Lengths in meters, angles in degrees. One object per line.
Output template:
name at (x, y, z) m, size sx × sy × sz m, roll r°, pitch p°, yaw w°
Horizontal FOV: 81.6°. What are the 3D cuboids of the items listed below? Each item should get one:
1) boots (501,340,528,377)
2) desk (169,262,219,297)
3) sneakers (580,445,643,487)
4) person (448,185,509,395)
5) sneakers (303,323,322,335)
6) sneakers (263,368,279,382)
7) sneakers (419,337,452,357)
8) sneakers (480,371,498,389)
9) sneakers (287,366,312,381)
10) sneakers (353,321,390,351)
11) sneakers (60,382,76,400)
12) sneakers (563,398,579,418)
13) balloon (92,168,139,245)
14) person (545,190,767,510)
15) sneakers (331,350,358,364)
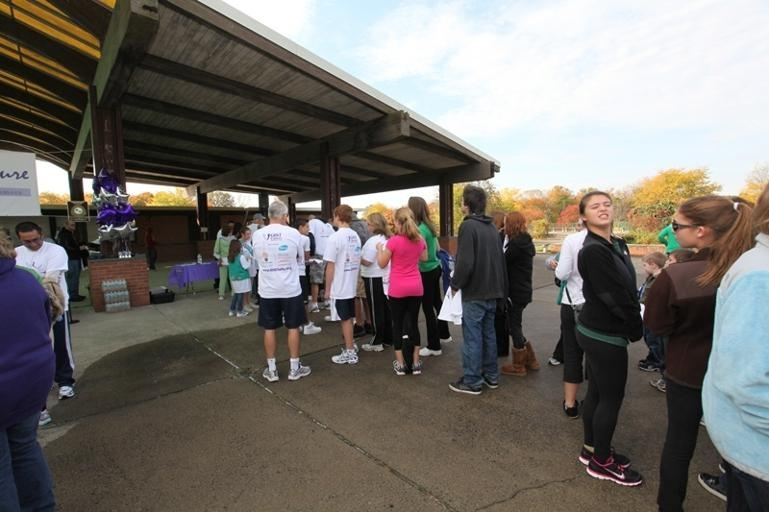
boots at (1.672, 1.347, 5.773) m, size 0.456 × 0.410 × 0.232 m, roll 3°, pitch 3°, yaw 40°
desk at (-4.314, 0.579, 10.525) m, size 0.863 × 0.393 × 1.345 m, roll 0°, pitch 10°, yaw 9°
sneakers at (2.082, 1.935, 4.078) m, size 0.372 × 0.120 × 0.302 m, roll 2°, pitch 3°, yaw 13°
person at (1.104, 0.392, 5.222) m, size 0.737 × 2.397 × 0.461 m, roll -8°, pitch 11°, yaw -35°
sneakers at (-1.208, 1.211, 7.257) m, size 0.339 × 0.145 × 0.127 m, roll -1°, pitch 3°, yaw -16°
sneakers at (-1.444, 1.500, 5.629) m, size 0.116 × 0.119 × 0.265 m, roll -1°, pitch 8°, yaw -34°
sneakers at (0.775, 1.325, 6.425) m, size 0.553 × 0.223 × 0.181 m, roll -2°, pitch -3°, yaw -30°
sneakers at (1.256, 1.489, 5.343) m, size 0.108 × 0.118 × 0.285 m, roll 0°, pitch 4°, yaw -6°
sneakers at (-1.074, 1.481, 5.637) m, size 0.320 × 0.140 × 0.124 m, roll -7°, pitch 7°, yaw -43°
sneakers at (-0.247, 1.229, 6.930) m, size 0.263 × 0.288 × 0.690 m, roll -7°, pitch 1°, yaw -28°
sneakers at (-3.793, 1.624, 5.287) m, size 0.084 × 0.100 × 0.225 m, roll 0°, pitch 2°, yaw -10°
sneakers at (2.024, 1.651, 4.799) m, size 0.093 × 0.096 × 0.256 m, roll -5°, pitch 10°, yaw 2°
balloon at (-5.473, -1.007, 8.973) m, size 0.686 × 1.473 × 0.523 m, roll -8°, pitch 11°, yaw -36°
person at (2.502, 0.789, 3.624) m, size 0.707 × 2.525 × 0.487 m, roll -4°, pitch 9°, yaw -16°
sneakers at (-0.519, 1.386, 6.070) m, size 0.378 × 0.179 × 0.154 m, roll 2°, pitch -3°, yaw 4°
